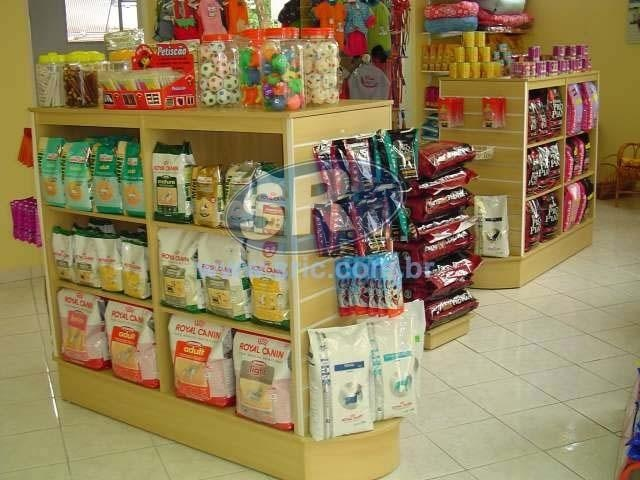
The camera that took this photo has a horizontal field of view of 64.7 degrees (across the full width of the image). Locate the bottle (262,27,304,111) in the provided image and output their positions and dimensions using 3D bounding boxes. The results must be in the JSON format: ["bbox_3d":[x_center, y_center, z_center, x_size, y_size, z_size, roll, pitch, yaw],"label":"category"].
[{"bbox_3d":[-0.167,-0.776,2.321,0.204,0.365,0.183,-5,19,0],"label":"bottle"}]

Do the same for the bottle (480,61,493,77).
[{"bbox_3d":[1.668,-1.685,5.040,0.127,0.142,0.144,3,19,21],"label":"bottle"}]

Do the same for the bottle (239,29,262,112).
[{"bbox_3d":[-0.320,-0.832,2.458,0.140,0.355,0.278,-7,18,-5],"label":"bottle"}]

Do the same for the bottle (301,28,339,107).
[{"bbox_3d":[0.013,-0.834,2.460,0.175,0.357,0.121,-5,19,1],"label":"bottle"}]

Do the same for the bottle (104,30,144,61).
[{"bbox_3d":[-1.210,-1.229,3.198,0.240,0.207,0.353,-9,18,-15],"label":"bottle"}]

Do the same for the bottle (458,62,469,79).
[{"bbox_3d":[1.455,-1.692,5.070,0.115,0.146,0.105,-4,18,1],"label":"bottle"}]
